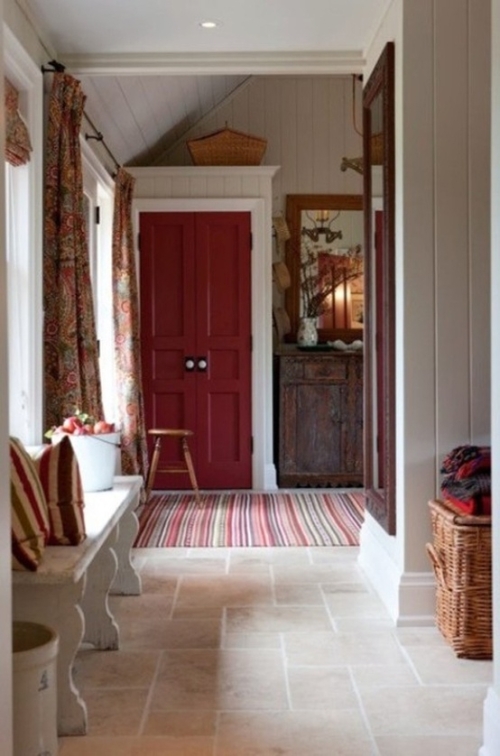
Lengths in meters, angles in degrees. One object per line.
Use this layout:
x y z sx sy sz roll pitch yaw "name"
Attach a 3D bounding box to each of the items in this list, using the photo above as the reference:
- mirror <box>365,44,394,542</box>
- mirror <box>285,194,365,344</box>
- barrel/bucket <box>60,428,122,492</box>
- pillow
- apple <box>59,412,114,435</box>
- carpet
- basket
0.582 -0.390 2.652 0.134 2.074 0.734 0 -1 11 "mirror"
0.747 -0.987 5.285 0.762 1.563 0.043 -1 -23 0 "mirror"
-0.601 0.307 2.258 0.196 0.207 0.214 0 -4 0 "barrel/bucket"
-0.516 0.318 1.493 0.073 0.272 0.248 -6 -2 23 "pillow"
-0.623 0.182 2.243 0.107 0.065 0.132 2 1 -4 "apple"
0.033 0.912 3.889 1.523 0.107 1.191 1 -1 -4 "carpet"
0.715 0.682 1.997 0.176 0.485 0.330 0 -1 6 "basket"
